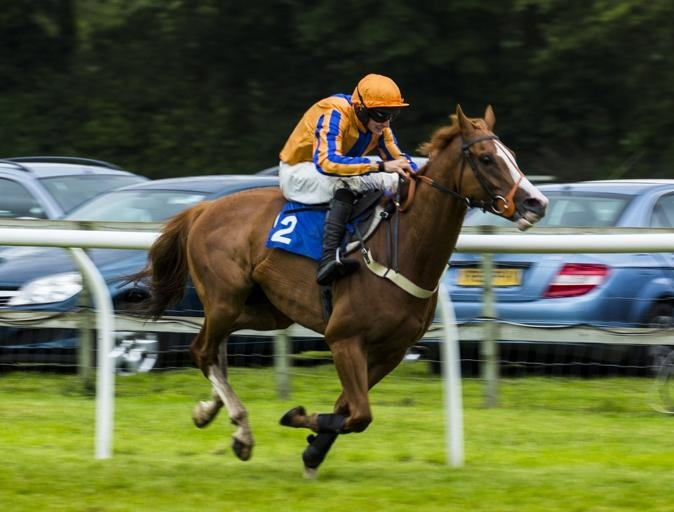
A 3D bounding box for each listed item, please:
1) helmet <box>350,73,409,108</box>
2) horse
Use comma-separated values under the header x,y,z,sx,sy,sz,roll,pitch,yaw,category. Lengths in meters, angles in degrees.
x,y,z,sx,sy,sz,roll,pitch,yaw,category
0.249,-0.915,5.906,0.325,0.115,0.237,25,43,31,helmet
-0.043,0.197,6.018,2.275,2.026,0.767,4,6,39,horse
